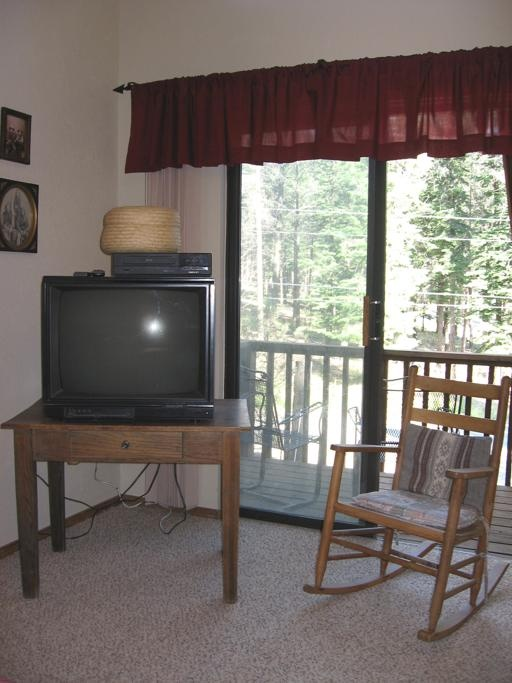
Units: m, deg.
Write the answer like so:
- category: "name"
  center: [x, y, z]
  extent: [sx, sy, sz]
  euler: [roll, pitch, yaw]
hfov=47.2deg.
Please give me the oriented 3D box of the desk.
- category: "desk"
  center: [-0.460, 0.605, 2.398]
  extent: [1.054, 0.868, 0.678]
  euler: [0, 1, 1]

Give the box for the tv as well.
- category: "tv"
  center: [-0.494, 0.012, 2.337]
  extent: [0.637, 0.555, 0.380]
  euler: [1, 7, -11]

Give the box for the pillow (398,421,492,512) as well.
- category: "pillow"
  center: [0.726, 0.483, 2.230]
  extent: [0.123, 0.274, 0.319]
  euler: [-4, 7, -43]

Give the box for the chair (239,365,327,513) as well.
- category: "chair"
  center: [0.200, 0.516, 3.061]
  extent: [0.437, 0.616, 0.430]
  euler: [9, -13, -13]

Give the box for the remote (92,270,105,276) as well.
- category: "remote"
  center: [-0.590, -0.254, 2.190]
  extent: [0.039, 0.023, 0.039]
  euler: [0, 9, -7]

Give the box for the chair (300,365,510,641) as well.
- category: "chair"
  center: [0.671, 0.573, 2.520]
  extent: [0.676, 1.154, 0.988]
  euler: [-1, -2, 45]
